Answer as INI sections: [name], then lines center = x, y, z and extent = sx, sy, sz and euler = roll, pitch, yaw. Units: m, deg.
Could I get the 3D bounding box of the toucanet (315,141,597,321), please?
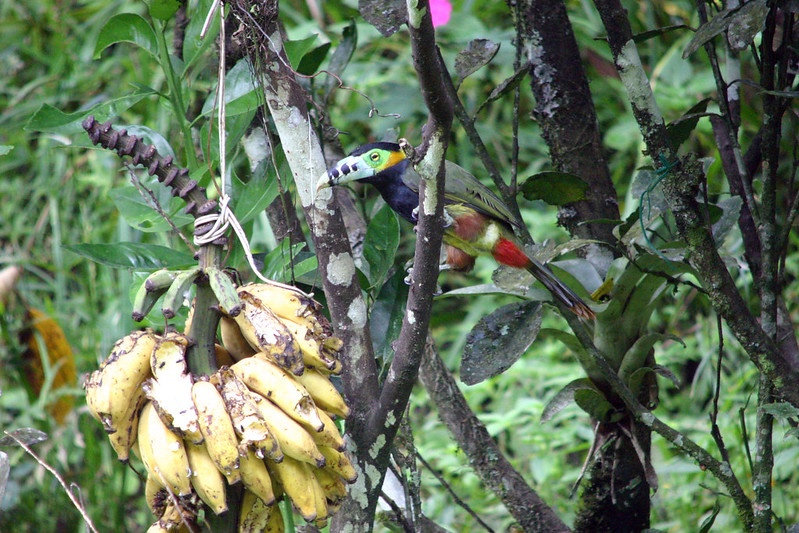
[toucanet]
center = 0.283, -0.204, 4.343
extent = 1.292, 0.650, 0.359
euler = 9, -24, -14
